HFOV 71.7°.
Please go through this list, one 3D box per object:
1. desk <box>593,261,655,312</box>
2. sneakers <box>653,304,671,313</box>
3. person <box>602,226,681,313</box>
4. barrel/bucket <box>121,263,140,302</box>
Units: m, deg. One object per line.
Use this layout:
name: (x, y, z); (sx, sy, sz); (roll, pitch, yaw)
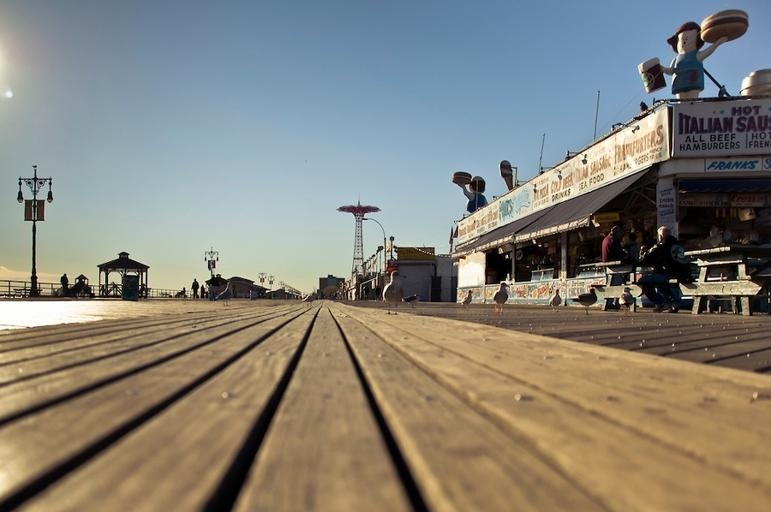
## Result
desk: (5.379, 0.738, 11.971); (1.081, 1.146, 1.185); (1, 4, 1)
sneakers: (5.661, 1.059, 10.789); (0.210, 0.102, 0.293); (3, -1, 12)
person: (5.476, 0.298, 10.578); (0.754, 1.587, 1.061); (0, -5, 3)
barrel/bucket: (-11.745, 1.453, 24.538); (0.654, 1.171, 1.380); (3, -5, -30)
